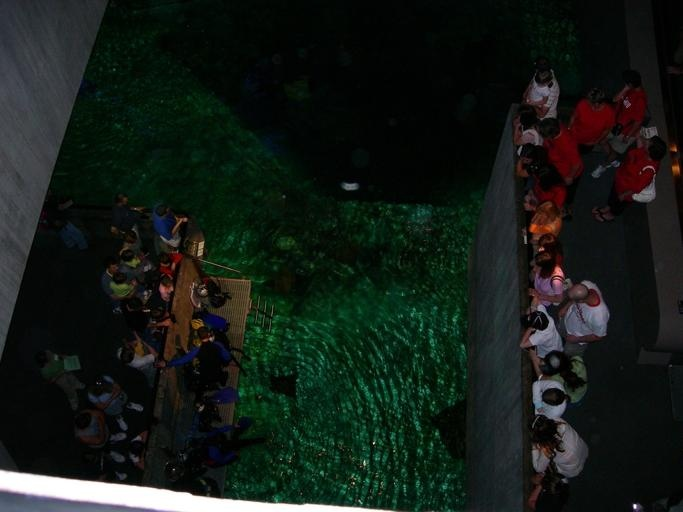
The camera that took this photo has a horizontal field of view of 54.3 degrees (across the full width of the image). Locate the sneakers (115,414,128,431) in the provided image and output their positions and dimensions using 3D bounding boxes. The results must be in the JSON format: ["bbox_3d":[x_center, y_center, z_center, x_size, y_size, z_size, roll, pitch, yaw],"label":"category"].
[{"bbox_3d":[-3.197,2.433,9.666,0.141,0.090,0.232,-5,68,-27],"label":"sneakers"}]

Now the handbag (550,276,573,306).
[{"bbox_3d":[2.667,0.430,8.057,0.208,0.309,0.316,7,67,13],"label":"handbag"}]

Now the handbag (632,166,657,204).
[{"bbox_3d":[3.987,-0.939,8.710,0.294,0.392,0.402,-11,60,9],"label":"handbag"}]

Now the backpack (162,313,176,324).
[{"bbox_3d":[-2.388,0.867,9.219,0.084,0.207,0.168,10,79,-31],"label":"backpack"}]

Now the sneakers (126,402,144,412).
[{"bbox_3d":[-3.056,2.224,9.791,0.214,0.050,0.126,21,44,-9],"label":"sneakers"}]

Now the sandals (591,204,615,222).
[{"bbox_3d":[3.620,-0.577,9.180,0.293,0.327,0.152,1,79,23],"label":"sandals"}]

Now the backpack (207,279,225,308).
[{"bbox_3d":[-1.895,0.603,10.066,0.260,0.609,0.303,-3,41,-3],"label":"backpack"}]

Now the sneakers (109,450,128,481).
[{"bbox_3d":[-3.194,2.979,9.562,0.277,0.395,0.103,-8,7,10],"label":"sneakers"}]
